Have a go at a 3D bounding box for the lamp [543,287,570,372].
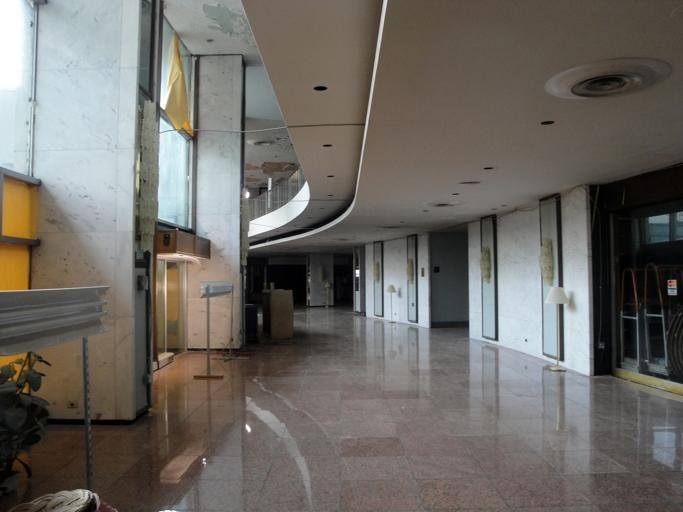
[{"bbox_3d":[4.003,1.375,9.944,0.408,1.576,0.399,1,-3,9],"label":"lamp"}]
